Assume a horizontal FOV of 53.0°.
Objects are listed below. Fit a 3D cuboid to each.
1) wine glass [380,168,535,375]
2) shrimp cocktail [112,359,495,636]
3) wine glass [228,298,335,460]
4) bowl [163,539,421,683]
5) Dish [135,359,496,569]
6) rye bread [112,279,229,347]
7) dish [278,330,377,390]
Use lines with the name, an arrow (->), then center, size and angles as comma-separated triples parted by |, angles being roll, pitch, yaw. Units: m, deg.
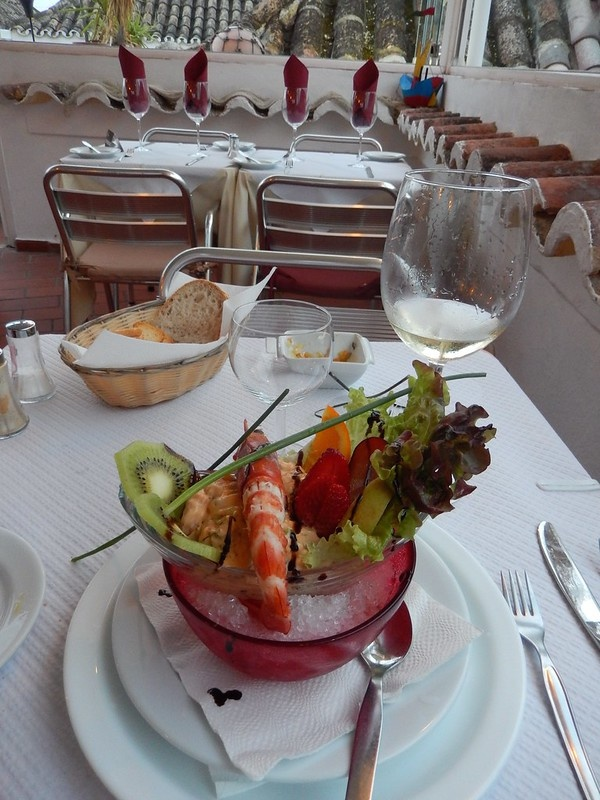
wine glass -> 0.120, -0.103, 0.481 | 0.113, 0.140, 0.056 | 13, 30, 11
shrimp cocktail -> 0.001, -0.004, 0.284 | 0.159, 0.081, 0.161 | 5, 20, 13
wine glass -> -0.018, -0.021, 0.534 | 0.111, 0.173, 0.107 | 0, 32, -2
bowl -> -0.002, 0.086, 0.299 | 0.104, 0.048, 0.100 | 0, 17, 0
Dish -> 0.019, 0.041, 0.334 | 0.166, 0.074, 0.117 | -5, 7, 8
rye bread -> -0.154, -0.106, 0.767 | 0.136, 0.079, 0.039 | -12, -15, 9
dish -> 0.062, -0.053, 0.742 | 0.107, 0.039, 0.074 | 0, 36, -4
